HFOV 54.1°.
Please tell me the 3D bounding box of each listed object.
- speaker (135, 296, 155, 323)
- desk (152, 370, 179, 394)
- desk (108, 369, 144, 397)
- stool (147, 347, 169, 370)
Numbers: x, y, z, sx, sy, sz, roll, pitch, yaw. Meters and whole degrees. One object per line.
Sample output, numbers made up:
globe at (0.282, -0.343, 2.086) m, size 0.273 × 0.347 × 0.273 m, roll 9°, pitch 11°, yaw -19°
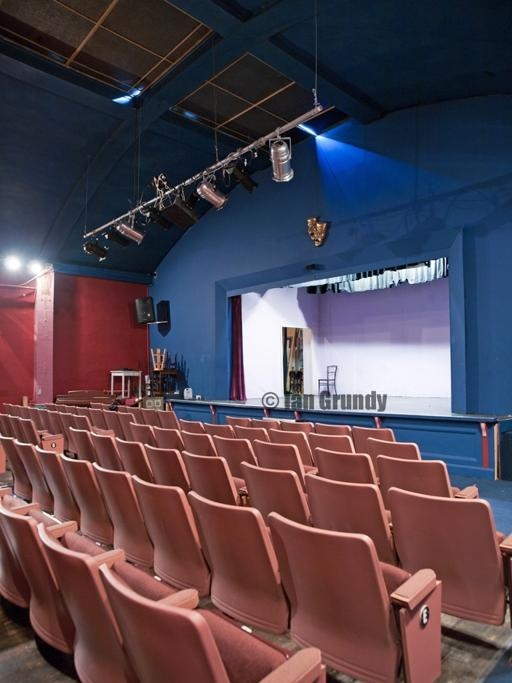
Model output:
speaker at (-2.520, -0.724, 11.384) m, size 0.396 × 0.796 × 0.420 m, roll 2°, pitch -14°, yaw -39°
desk at (-2.015, 0.838, 10.721) m, size 0.495 × 0.563 × 0.704 m, roll -1°, pitch 0°, yaw 16°
desk at (-2.840, 0.878, 11.049) m, size 0.716 × 0.600 × 1.350 m, roll -1°, pitch -1°, yaw -14°
stool at (-2.186, 0.375, 11.247) m, size 0.426 × 0.549 × 0.464 m, roll -1°, pitch -17°, yaw -3°
